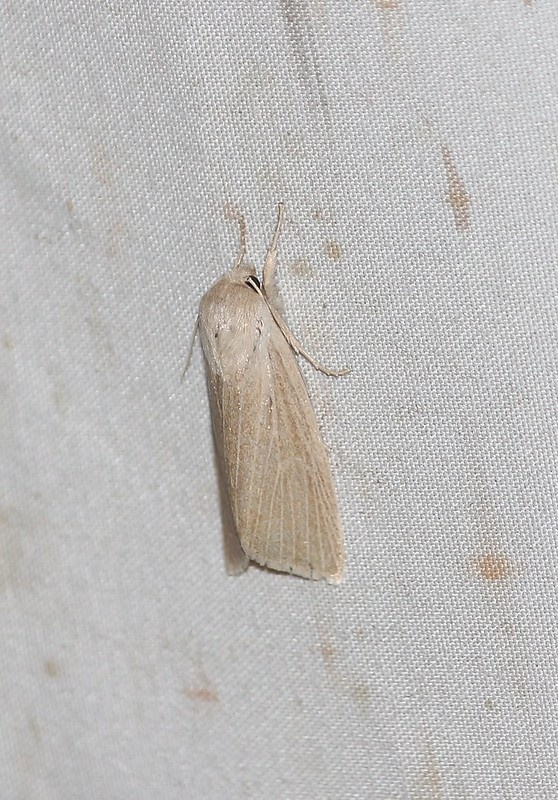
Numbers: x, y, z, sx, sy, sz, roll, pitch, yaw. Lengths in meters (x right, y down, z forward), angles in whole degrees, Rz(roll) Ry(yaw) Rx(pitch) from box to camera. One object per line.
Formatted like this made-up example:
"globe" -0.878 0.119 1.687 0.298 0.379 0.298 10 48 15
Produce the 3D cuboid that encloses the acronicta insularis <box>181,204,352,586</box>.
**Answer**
"acronicta insularis" -0.008 -0.001 0.881 0.136 0.076 0.293 0 99 29
